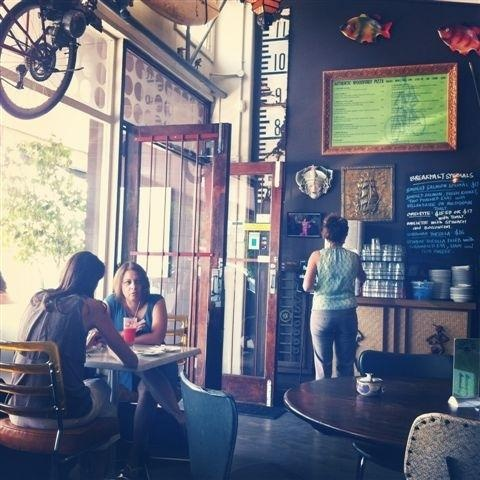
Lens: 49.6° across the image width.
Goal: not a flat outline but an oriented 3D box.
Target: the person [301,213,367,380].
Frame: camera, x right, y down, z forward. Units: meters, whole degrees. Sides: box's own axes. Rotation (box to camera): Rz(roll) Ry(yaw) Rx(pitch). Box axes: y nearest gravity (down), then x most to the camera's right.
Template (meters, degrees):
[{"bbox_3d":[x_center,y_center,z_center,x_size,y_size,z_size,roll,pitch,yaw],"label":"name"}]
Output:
[{"bbox_3d":[0.720,0.513,3.976,0.379,1.570,0.396,-2,12,-1],"label":"person"}]

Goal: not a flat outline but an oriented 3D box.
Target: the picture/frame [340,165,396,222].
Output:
[{"bbox_3d":[1.335,-0.470,5.292,0.470,0.648,0.043,0,-4,12],"label":"picture/frame"}]

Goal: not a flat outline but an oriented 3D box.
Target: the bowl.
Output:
[{"bbox_3d":[1.887,0.410,4.848,0.291,0.263,0.440,9,-12,-44],"label":"bowl"}]

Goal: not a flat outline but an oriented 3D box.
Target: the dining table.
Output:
[{"bbox_3d":[-0.531,0.890,2.841,0.600,0.738,0.652,2,-9,-25],"label":"dining table"}]
